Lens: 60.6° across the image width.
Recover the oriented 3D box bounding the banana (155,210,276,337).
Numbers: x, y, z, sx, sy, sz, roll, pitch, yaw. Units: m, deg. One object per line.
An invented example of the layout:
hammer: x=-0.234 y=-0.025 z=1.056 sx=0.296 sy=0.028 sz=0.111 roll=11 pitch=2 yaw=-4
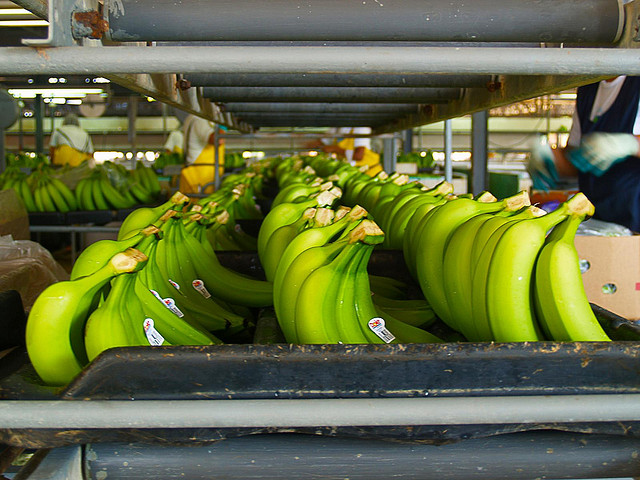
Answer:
banana: x=-0.247 y=0.083 z=1.282 sx=0.219 sy=0.355 sz=0.105 roll=-45 pitch=20 yaw=41

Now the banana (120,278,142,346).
banana: x=-0.322 y=0.122 z=0.929 sx=0.037 sy=0.111 sz=0.037 roll=-5 pitch=-3 yaw=15

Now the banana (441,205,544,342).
banana: x=0.319 y=0.059 z=1.054 sx=0.263 sy=0.226 sz=0.103 roll=-7 pitch=-3 yaw=43

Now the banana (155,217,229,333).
banana: x=-0.292 y=0.083 z=1.234 sx=0.069 sy=0.260 sz=0.112 roll=-33 pitch=6 yaw=-37

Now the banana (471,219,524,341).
banana: x=0.292 y=0.081 z=0.981 sx=0.087 sy=0.176 sz=0.169 roll=7 pitch=-12 yaw=9

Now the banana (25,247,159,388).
banana: x=-0.384 y=0.125 z=0.924 sx=0.185 sy=0.226 sz=0.130 roll=-11 pitch=16 yaw=-38

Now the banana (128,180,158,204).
banana: x=-1.486 y=-0.397 z=4.585 sx=0.294 sy=0.058 sz=0.101 roll=37 pitch=-16 yaw=-14

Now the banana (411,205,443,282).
banana: x=0.235 y=-0.005 z=1.310 sx=0.058 sy=0.131 sz=0.128 roll=6 pitch=-10 yaw=-1

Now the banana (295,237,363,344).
banana: x=0.000 y=0.104 z=0.989 sx=0.138 sy=0.285 sz=0.074 roll=5 pitch=43 yaw=6

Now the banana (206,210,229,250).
banana: x=-0.306 y=-0.028 z=1.632 sx=0.063 sy=0.040 sz=0.159 roll=-7 pitch=-10 yaw=-8

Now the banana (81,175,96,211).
banana: x=-1.762 y=-0.360 z=4.222 sx=0.076 sy=0.225 sz=0.119 roll=4 pitch=-4 yaw=39

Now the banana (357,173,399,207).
banana: x=0.221 y=-0.212 z=2.267 sx=0.188 sy=0.058 sz=0.157 roll=-43 pitch=1 yaw=11

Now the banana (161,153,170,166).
banana: x=-2.203 y=-1.151 z=7.871 sx=0.085 sy=0.138 sz=0.616 roll=-4 pitch=10 yaw=-16

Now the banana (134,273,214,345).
banana: x=-0.285 y=0.137 z=1.062 sx=0.215 sy=0.074 sz=0.047 roll=35 pitch=-3 yaw=4

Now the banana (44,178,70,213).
banana: x=-1.995 y=-0.324 z=4.149 sx=0.071 sy=0.314 sz=0.088 roll=-41 pitch=3 yaw=-13

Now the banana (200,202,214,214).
banana: x=-0.321 y=-0.088 z=1.562 sx=0.013 sy=0.013 sz=0.051 roll=-10 pitch=20 yaw=35
